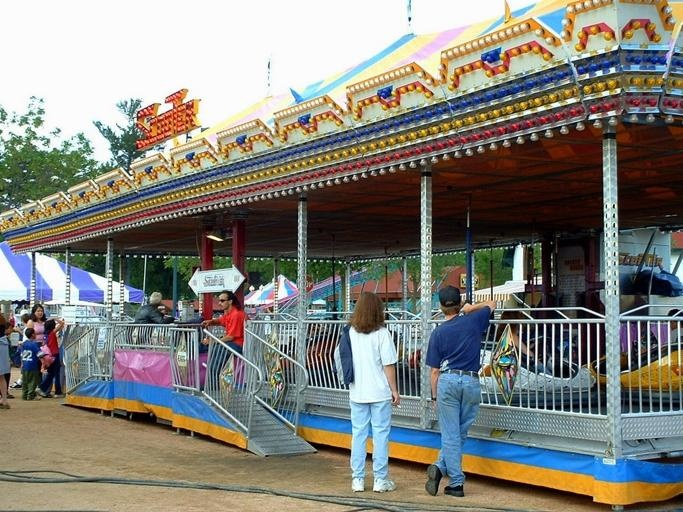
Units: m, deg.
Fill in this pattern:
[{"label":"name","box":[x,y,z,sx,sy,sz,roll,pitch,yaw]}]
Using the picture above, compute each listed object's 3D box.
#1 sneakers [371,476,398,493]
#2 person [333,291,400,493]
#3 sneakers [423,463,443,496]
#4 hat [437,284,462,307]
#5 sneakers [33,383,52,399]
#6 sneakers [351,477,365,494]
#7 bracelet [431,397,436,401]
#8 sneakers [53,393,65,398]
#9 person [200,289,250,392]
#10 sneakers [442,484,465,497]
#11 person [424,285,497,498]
[{"label":"sneakers","box":[0.536,2.880,9.874,0.133,0.158,0.342,4,4,42]},{"label":"person","box":[0.331,1.712,9.855,0.735,2.511,0.434,-1,-7,3]},{"label":"sneakers","box":[1.140,2.768,9.669,0.218,0.381,0.272,-1,-7,6]},{"label":"hat","box":[1.364,0.508,9.900,0.209,0.177,0.315,-1,5,6]},{"label":"sneakers","box":[-7.681,3.486,20.030,0.294,0.228,0.669,-27,42,-20]},{"label":"sneakers","box":[0.208,2.888,9.801,0.097,0.103,0.251,2,1,0]},{"label":"bracelet","box":[1.149,1.801,9.806,0.049,0.033,0.048,0,-3,-7]},{"label":"sneakers","box":[-7.213,3.566,19.903,0.357,0.142,0.119,1,0,18]},{"label":"person","box":[-2.078,1.467,13.792,0.747,1.789,1.518,1,-7,-10]},{"label":"sneakers","box":[1.364,2.898,9.631,0.113,0.112,0.273,2,1,-25]},{"label":"person","box":[1.470,1.672,9.775,0.875,2.598,0.636,-4,-8,26]}]
